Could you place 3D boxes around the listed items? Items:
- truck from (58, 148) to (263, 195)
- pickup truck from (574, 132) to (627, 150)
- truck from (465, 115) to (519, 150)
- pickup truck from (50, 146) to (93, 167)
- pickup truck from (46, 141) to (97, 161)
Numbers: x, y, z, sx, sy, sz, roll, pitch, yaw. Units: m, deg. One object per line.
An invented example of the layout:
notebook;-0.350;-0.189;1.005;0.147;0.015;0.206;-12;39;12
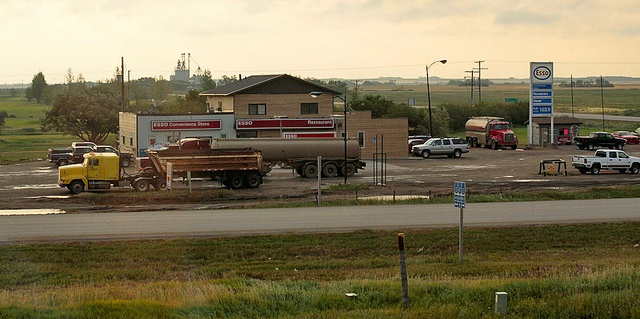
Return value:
truck;-17.685;1.335;98.601;21.681;4.700;1.060;-2;11;-9
pickup truck;42.299;-2.856;129.634;6.825;2.259;2.931;-1;7;-6
truck;26.914;-4.230;133.957;4.168;4.606;11.232;-3;6;-17
pickup truck;-33.017;-0.260;113.439;5.392;2.034;2.922;-4;9;-19
pickup truck;-34.212;-1.134;117.816;5.423;1.866;2.855;-4;7;-17
